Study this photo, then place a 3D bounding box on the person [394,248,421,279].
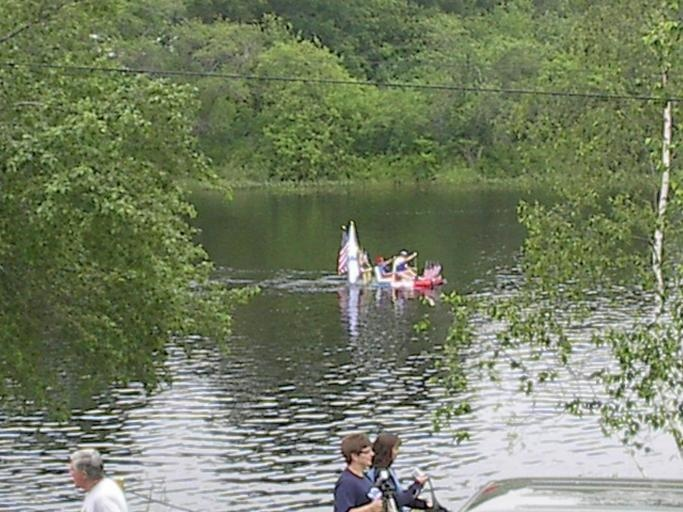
[{"bbox_3d":[2.649,0.131,61.668,1.108,1.724,0.906,-7,16,-10],"label":"person"}]
